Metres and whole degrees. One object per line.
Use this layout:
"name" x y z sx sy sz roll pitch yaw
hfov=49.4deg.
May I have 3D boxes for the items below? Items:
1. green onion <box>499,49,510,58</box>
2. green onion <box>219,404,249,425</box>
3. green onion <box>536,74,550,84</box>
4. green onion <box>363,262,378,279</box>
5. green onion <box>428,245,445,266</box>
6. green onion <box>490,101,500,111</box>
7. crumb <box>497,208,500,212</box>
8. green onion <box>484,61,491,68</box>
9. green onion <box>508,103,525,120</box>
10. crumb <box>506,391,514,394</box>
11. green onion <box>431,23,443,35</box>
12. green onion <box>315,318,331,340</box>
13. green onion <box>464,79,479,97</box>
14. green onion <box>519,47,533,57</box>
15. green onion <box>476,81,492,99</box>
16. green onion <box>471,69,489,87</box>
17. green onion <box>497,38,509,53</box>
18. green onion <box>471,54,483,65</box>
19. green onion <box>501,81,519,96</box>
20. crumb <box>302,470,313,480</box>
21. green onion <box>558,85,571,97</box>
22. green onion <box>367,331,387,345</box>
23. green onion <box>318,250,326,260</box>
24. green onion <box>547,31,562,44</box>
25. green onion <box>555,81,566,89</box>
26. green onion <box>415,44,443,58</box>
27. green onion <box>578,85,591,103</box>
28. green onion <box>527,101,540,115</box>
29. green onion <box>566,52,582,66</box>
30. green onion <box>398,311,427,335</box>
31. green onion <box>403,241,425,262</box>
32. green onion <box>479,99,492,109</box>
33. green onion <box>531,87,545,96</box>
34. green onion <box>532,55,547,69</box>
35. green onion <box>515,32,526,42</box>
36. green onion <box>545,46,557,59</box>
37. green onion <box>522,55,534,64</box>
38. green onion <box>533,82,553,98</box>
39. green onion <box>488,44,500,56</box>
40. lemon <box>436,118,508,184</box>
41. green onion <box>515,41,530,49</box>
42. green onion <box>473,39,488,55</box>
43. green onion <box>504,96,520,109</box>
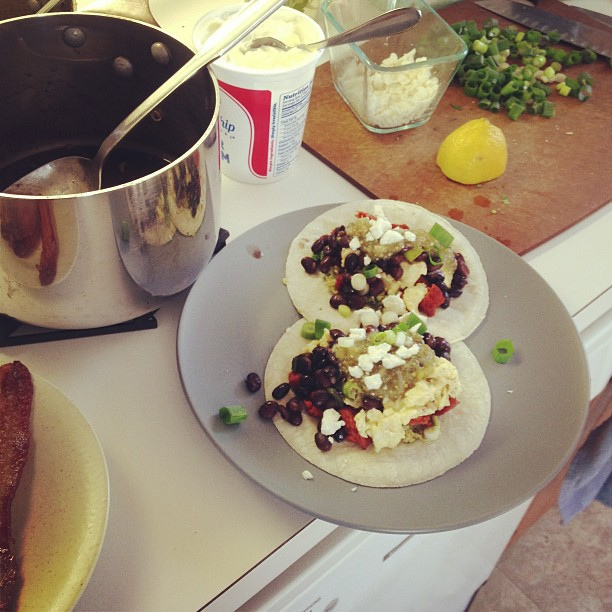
"green onion" 0.613 -0.772 2.048 0.024 0.027 0.020 0 87 12
"green onion" -0.117 0.176 1.069 0.043 0.042 0.034 -3 65 -1
"green onion" 0.705 -0.669 1.975 0.030 0.026 0.008 37 52 25
"green onion" 0.132 -0.073 1.360 0.030 0.020 0.037 1 63 1
"green onion" 0.266 -0.101 1.361 0.035 0.014 0.035 -4 66 -12
"green onion" 0.520 -0.546 1.830 0.029 0.022 0.026 10 45 5
"crumb" 0.447 -0.220 1.541 0.008 0.002 0.008 -3 70 -3
"green onion" 0.531 -0.701 1.944 0.026 0.005 0.021 9 37 -23
"green onion" 0.574 -0.520 1.802 0.034 0.011 0.045 31 92 12
"crumb" 0.366 0.156 1.188 0.011 0.004 0.005 1 64 1
"green onion" 0.342 -0.718 1.740 0.029 0.008 0.021 -2 89 14
"green onion" 0.031 0.047 1.265 0.026 0.027 0.028 21 38 1
"green onion" 0.458 -0.605 1.867 0.046 0.041 0.040 0 57 0
"green onion" 0.679 -0.781 2.057 0.042 0.013 0.029 2 90 6
"green onion" 0.497 -0.596 1.854 0.047 0.047 0.041 0 75 2
"green onion" 0.491 -0.640 1.865 0.051 0.049 0.040 -6 76 -2
"green onion" 0.600 -0.787 2.025 0.050 0.011 0.033 -10 98 -10
"green onion" 0.496 -0.705 1.917 0.035 0.022 0.034 11 64 6
"green onion" 0.571 -0.602 1.856 0.035 0.027 0.051 33 67 15
"crumb" 0.002 0.265 1.041 0.013 0.004 0.011 -10 53 -24
"green onion" 0.749 -0.616 1.922 0.030 0.026 0.027 -21 48 -41
"green onion" 0.129 0.060 1.193 0.029 0.026 0.009 -17 105 7
"green onion" 0.034 -0.103 1.421 0.004 0.015 0.017 16 44 44
"green onion" 0.795 -0.855 2.129 0.047 0.014 0.034 -8 91 -11
"green onion" 0.741 -0.637 1.934 0.034 0.010 0.017 -30 59 -19
"green onion" 0.331 -0.677 1.781 0.069 0.055 0.017 2 50 17
"green onion" 0.804 -0.608 1.916 0.035 0.018 0.051 23 58 8
"green onion" 0.627 -0.541 1.833 0.027 0.015 0.046 8 38 27
"green onion" 0.825 -0.756 2.060 0.051 0.017 0.041 -18 66 -10
"green onion" 0.201 0.033 1.253 0.047 0.017 0.045 42 67 -15
"green onion" 0.225 -0.106 1.378 0.043 0.014 0.040 -46 37 -5
"green onion" 0.497 -0.556 1.837 0.033 0.019 0.032 16 64 8
"green onion" 0.656 -0.600 1.877 0.030 0.008 0.033 -6 52 -7
"green onion" 0.709 -0.736 2.020 0.040 0.026 0.046 30 67 9
"green onion" 0.689 -0.855 2.122 0.025 0.010 0.040 16 59 17
"green onion" 0.760 -0.781 2.066 0.042 0.024 0.042 -8 50 2
"green onion" 0.679 -0.747 2.036 0.039 0.025 0.030 2 46 1
"green onion" 0.691 -0.625 1.928 0.066 0.019 0.056 23 44 -4
"green onion" 0.568 -0.765 2.005 0.034 0.008 0.024 -10 94 -17
"lemon" 0.396 -0.363 1.576 0.144 0.119 0.128 -12 65 -5
"green onion" 0.679 -0.813 2.087 0.051 0.011 0.035 -1 62 3
"green onion" 0.523 -0.772 1.997 0.048 0.035 0.032 20 53 -6
"green onion" 0.562 -0.551 1.823 0.043 0.034 0.014 -23 23 -15
